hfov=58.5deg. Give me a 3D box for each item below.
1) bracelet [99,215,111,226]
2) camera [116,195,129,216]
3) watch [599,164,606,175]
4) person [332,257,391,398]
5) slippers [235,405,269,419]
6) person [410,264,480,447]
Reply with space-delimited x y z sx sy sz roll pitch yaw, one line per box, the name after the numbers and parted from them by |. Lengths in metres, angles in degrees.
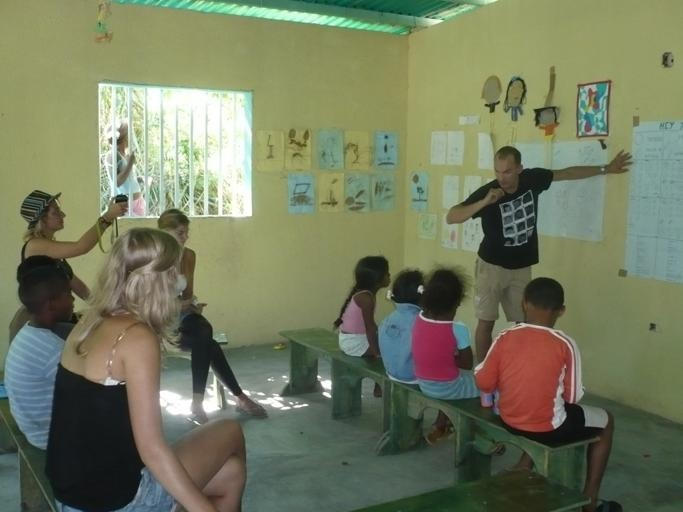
-1.623 -0.245 4.191 0.079 0.071 0.107 -3 10 -15 | bracelet
-1.507 -0.350 4.200 0.099 0.143 0.052 -1 1 2 | camera
2.228 -0.736 5.179 0.042 0.066 0.066 1 -5 13 | watch
0.218 0.560 4.911 0.598 1.082 0.366 -3 12 -8 | person
-0.726 1.246 4.909 0.233 0.065 0.099 -1 -2 15 | slippers
0.692 0.506 4.003 0.452 0.824 0.302 2 10 11 | person
